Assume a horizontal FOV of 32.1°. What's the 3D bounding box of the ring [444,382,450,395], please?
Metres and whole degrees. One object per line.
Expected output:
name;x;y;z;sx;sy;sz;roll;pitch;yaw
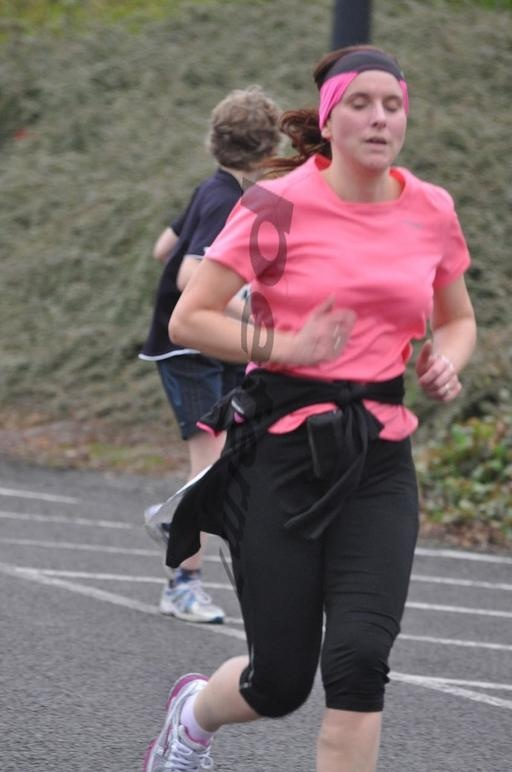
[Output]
ring;0.421;0.003;1.967;0.007;0.019;0.020;21;-18;-7
